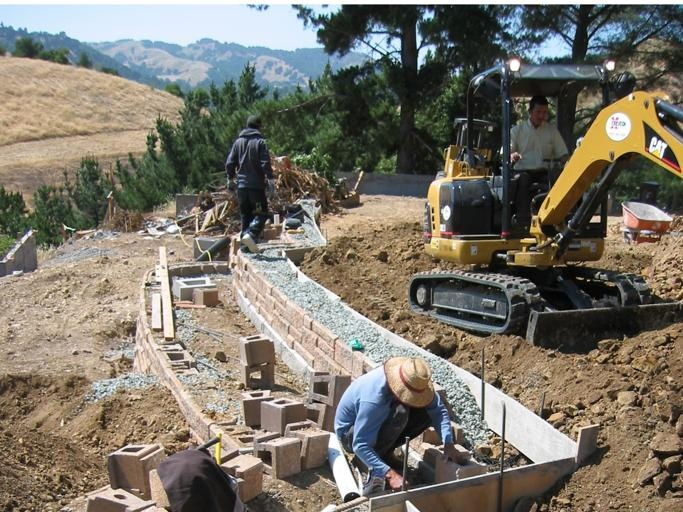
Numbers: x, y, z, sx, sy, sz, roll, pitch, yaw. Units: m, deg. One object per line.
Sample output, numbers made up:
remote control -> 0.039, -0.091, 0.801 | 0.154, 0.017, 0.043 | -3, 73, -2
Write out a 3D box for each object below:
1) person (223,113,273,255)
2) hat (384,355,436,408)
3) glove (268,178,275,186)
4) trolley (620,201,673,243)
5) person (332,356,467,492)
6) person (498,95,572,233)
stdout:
person -> -1.513, -1.189, 13.135 | 0.539, 2.257, 1.138 | -7, 14, -35
hat -> 0.715, 1.156, 7.714 | 0.594, 0.208, 0.596 | 27, 38, -17
glove -> -1.141, -1.186, 12.721 | 0.114, 0.149, 0.119 | -2, 16, 0
trolley -> 5.635, -0.621, 14.544 | 0.895, 0.654, 0.752 | 5, 24, -5
person -> 0.526, 1.624, 7.798 | 1.176, 1.285, 0.611 | 1, 12, -3
person -> 2.505, -1.203, 10.360 | 0.773, 1.683, 0.685 | 0, 4, -3
